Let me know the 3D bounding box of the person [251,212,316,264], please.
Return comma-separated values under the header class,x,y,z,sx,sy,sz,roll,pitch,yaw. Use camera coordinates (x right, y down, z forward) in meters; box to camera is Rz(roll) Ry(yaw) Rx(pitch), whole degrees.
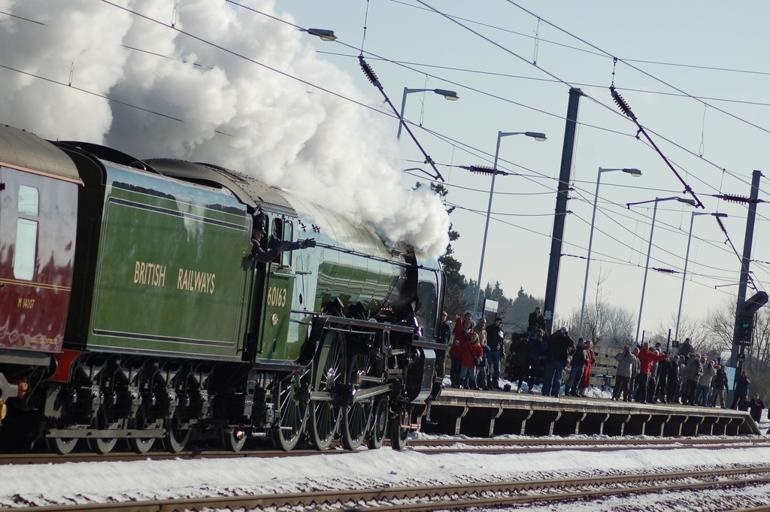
class,x,y,z,sx,sy,sz,roll,pitch,yaw
person,-1.880,-0.357,14.751,1.247,0.849,0.685,-5,15,-7
